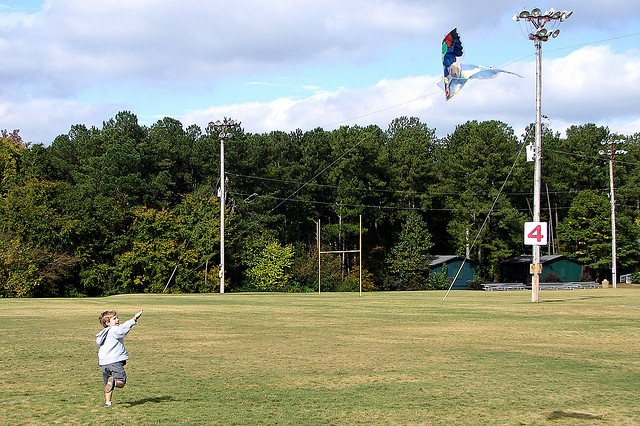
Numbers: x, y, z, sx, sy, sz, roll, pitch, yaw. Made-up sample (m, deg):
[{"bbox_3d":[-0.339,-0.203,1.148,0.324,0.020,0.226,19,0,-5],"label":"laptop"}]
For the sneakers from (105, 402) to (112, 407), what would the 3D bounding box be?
[{"bbox_3d":[-7.814,6.985,29.125,0.272,0.192,0.274,3,-6,-19],"label":"sneakers"}]

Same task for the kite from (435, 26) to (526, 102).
[{"bbox_3d":[9.386,-8.369,47.935,3.498,2.137,4.243,4,-27,2],"label":"kite"}]

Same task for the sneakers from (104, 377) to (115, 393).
[{"bbox_3d":[-7.755,6.301,29.238,0.273,0.595,0.266,14,-8,21],"label":"sneakers"}]
